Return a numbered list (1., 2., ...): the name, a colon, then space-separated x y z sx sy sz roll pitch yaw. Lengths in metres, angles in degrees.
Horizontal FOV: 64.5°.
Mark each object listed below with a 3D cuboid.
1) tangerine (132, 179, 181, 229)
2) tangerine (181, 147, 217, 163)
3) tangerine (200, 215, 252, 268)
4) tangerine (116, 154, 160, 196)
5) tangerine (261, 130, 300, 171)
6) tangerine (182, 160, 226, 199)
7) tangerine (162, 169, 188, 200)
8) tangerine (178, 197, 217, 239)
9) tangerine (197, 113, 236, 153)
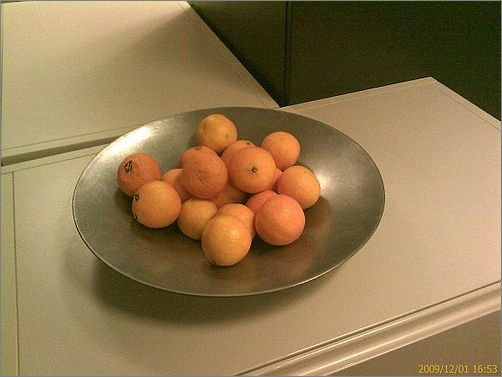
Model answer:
1. tangerine: -0.177 0.033 0.761 0.077 0.088 0.092 -6 85 -8
2. tangerine: -0.118 -0.071 0.833 0.046 0.029 0.051 -3 23 0
3. tangerine: -0.045 0.097 0.751 0.086 0.105 0.097 5 5 -14
4. tangerine: -0.235 -0.022 0.859 0.078 0.083 0.081 27 44 17
5. tangerine: 0.071 -0.090 0.923 0.074 0.081 0.079 -6 43 -2
6. tangerine: -0.091 -0.024 0.776 0.089 0.059 0.055 -9 51 -3
7. tangerine: -0.158 -0.015 0.819 0.055 0.033 0.060 6 41 -32
8. tangerine: -0.110 0.058 0.817 0.062 0.058 0.076 3 50 5
9. tangerine: -0.080 -0.123 0.951 0.078 0.083 0.087 -1 57 -37
